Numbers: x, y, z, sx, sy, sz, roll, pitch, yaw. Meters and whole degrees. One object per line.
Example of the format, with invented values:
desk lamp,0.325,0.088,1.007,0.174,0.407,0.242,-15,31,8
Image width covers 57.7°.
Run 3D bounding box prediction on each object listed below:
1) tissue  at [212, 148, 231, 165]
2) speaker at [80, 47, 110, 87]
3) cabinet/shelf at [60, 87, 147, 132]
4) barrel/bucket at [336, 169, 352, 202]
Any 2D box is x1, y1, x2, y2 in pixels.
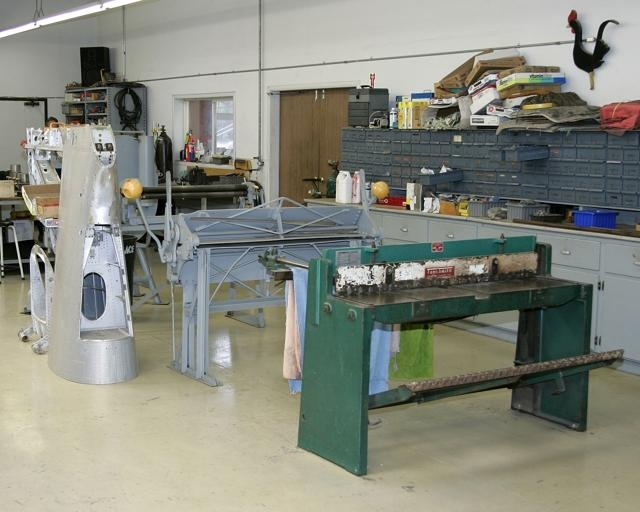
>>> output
tissue ,-1.649,-1.678,9.757,0.323,0.269,0.768,-1,10,-9
speaker,-4.498,-3.774,11.627,0.569,0.778,0.534,-3,11,-22
cabinet/shelf,-4.361,-2.649,11.503,1.506,1.311,0.587,10,15,36
barrel/bucket,0.280,-0.811,6.817,0.154,0.439,0.308,-6,15,-25
